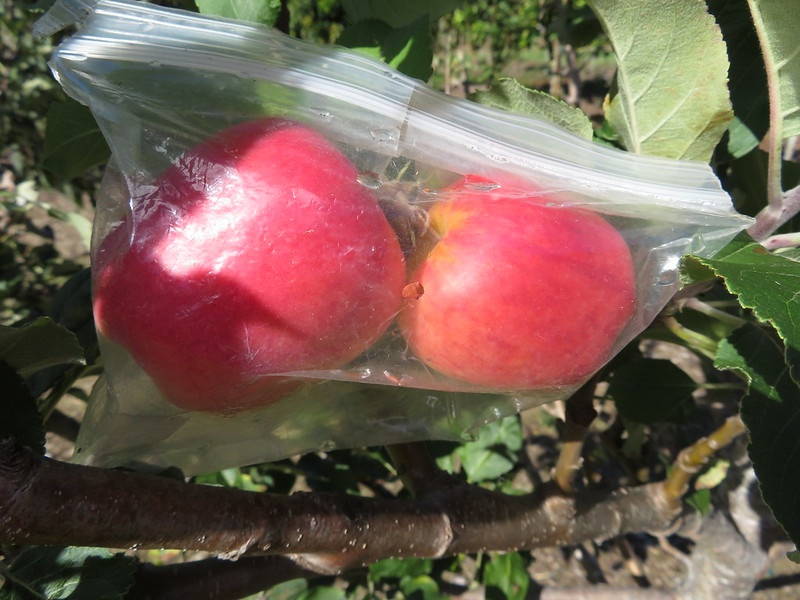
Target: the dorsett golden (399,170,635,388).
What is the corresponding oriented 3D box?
[{"bbox_3d":[0.156,-0.015,1.452,0.423,0.337,0.282,16,97,5],"label":"dorsett golden"}]
